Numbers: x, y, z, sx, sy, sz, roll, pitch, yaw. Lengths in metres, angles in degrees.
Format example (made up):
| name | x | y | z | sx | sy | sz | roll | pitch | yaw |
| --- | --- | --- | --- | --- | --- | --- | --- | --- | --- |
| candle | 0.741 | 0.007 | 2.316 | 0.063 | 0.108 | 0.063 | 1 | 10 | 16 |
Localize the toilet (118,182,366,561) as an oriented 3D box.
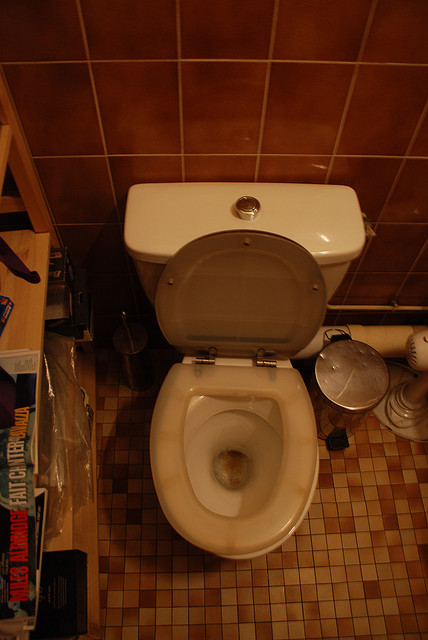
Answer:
| name | x | y | z | sx | sy | sz | roll | pitch | yaw |
| --- | --- | --- | --- | --- | --- | --- | --- | --- | --- |
| toilet | 0.040 | 0.203 | 1.105 | 0.411 | 0.803 | 0.690 | 4 | 56 | 3 |
